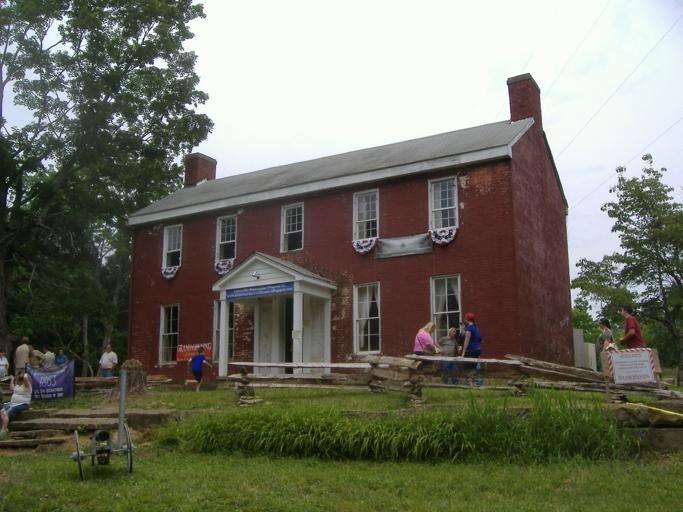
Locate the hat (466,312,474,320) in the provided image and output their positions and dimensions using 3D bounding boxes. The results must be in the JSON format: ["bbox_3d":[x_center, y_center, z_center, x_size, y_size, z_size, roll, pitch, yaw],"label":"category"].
[{"bbox_3d":[3.668,1.718,17.732,0.292,0.163,0.209,0,8,30],"label":"hat"}]

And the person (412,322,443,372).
[{"bbox_3d":[2.344,2.351,17.474,0.892,1.630,0.770,2,3,-7],"label":"person"}]

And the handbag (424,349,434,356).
[{"bbox_3d":[2.430,2.616,16.921,0.220,0.201,0.424,-5,-16,13],"label":"handbag"}]
